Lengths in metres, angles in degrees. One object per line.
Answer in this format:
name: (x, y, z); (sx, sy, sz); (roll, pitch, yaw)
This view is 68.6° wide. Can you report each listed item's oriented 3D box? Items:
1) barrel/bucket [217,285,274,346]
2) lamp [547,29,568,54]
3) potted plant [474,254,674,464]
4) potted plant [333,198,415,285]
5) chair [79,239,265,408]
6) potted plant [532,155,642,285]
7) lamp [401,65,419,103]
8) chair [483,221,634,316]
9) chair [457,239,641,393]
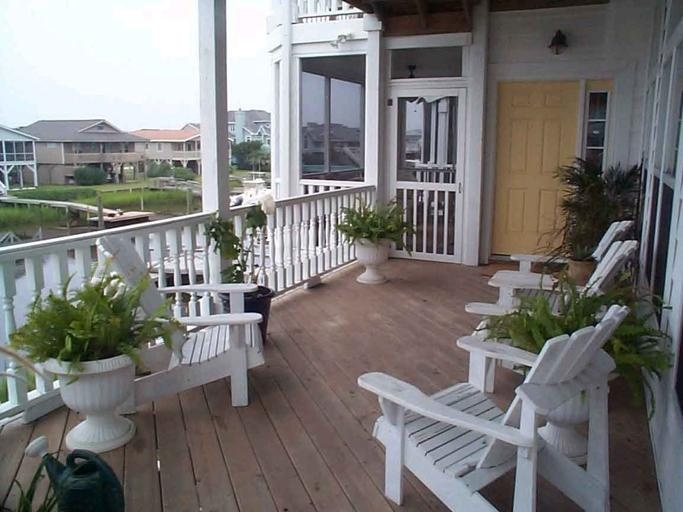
barrel/bucket: (-0.849, 0.414, 4.250); (0.463, 0.401, 0.469); (-2, 10, 0)
lamp: (2.720, -2.740, 6.354); (0.235, 0.174, 0.251); (18, -22, 28)
potted plant: (1.179, 0.774, 2.811); (0.518, 0.641, 0.669); (-9, -7, -5)
potted plant: (0.485, -0.197, 6.412); (0.949, 1.048, 0.993); (0, 4, 20)
chair: (-1.047, 0.431, 3.442); (0.978, 1.051, 0.758); (-1, 13, -19)
potted plant: (2.614, -0.464, 5.323); (1.059, 1.471, 1.238); (3, 14, 19)
lamp: (0.967, -2.408, 6.937); (0.163, 0.497, 0.097); (4, 15, 13)
chair: (1.702, 0.037, 3.968); (1.019, 0.759, 0.794); (2, 1, 33)
chair: (1.333, 0.453, 3.492); (1.228, 1.267, 0.938); (1, 9, 28)
